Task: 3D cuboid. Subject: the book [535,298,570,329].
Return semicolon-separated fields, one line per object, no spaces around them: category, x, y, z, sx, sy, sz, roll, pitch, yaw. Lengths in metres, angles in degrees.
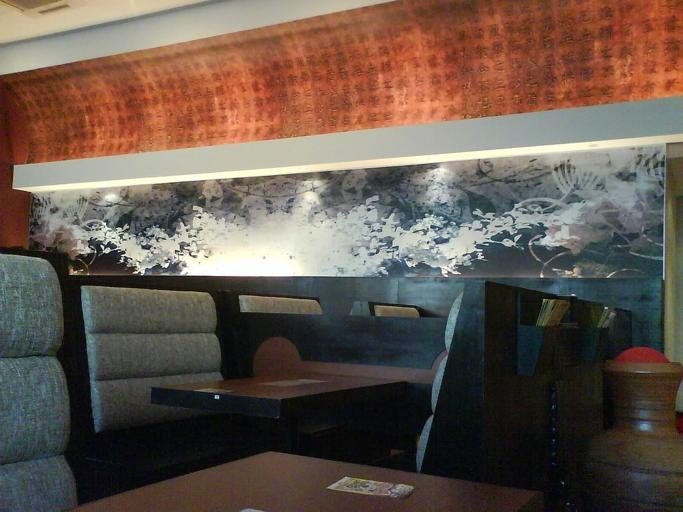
book;0.575;0.148;1.456;0.090;0.074;0.022;5;21;-30
